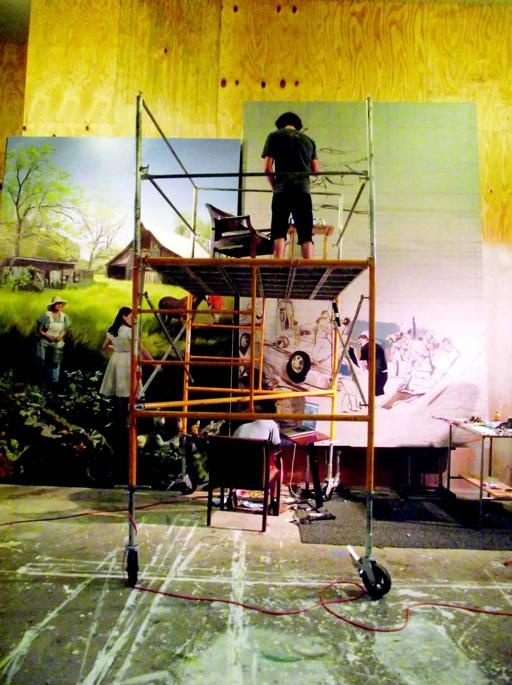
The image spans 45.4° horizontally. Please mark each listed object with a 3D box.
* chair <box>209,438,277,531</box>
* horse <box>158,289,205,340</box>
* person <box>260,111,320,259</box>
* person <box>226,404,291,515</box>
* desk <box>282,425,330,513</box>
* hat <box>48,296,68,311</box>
[{"bbox_3d":[-0.123,1.325,6.054,0.675,0.898,0.726,2,3,-3],"label":"chair"},{"bbox_3d":[-0.857,-0.280,6.957,0.495,0.524,1.141,1,5,-9],"label":"horse"},{"bbox_3d":[0.309,-1.507,5.681,0.532,1.477,1.089,2,5,4],"label":"person"},{"bbox_3d":[-0.053,1.300,6.233,0.665,0.821,0.637,-7,14,-39],"label":"person"},{"bbox_3d":[0.612,1.366,6.588,0.492,0.770,0.462,1,-26,-34],"label":"desk"},{"bbox_3d":[-2.440,-0.468,7.490,0.164,0.086,0.164,-9,-25,-21],"label":"hat"}]
